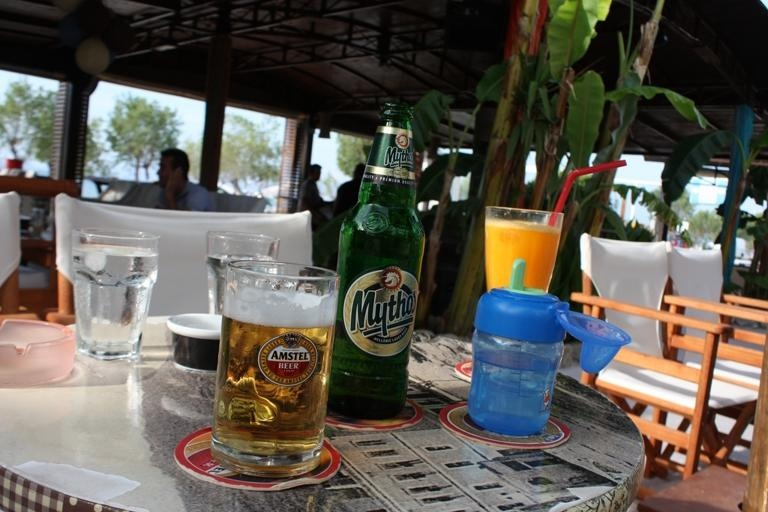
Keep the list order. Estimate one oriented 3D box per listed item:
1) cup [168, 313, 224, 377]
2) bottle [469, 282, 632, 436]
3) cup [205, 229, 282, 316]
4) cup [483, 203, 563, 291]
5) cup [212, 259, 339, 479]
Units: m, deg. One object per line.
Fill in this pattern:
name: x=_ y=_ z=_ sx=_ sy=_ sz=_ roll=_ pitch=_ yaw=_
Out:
cup: x=-0.329 y=0.158 z=1.026 sx=0.117 sy=0.068 sz=0.112 roll=9 pitch=6 yaw=-1
bottle: x=0.253 y=0.185 z=0.899 sx=0.245 sy=0.205 sz=0.136 roll=7 pitch=-4 yaw=17
cup: x=-0.282 y=0.041 z=1.121 sx=0.119 sy=0.162 sz=0.105 roll=4 pitch=-5 yaw=-26
cup: x=0.275 y=0.001 z=1.211 sx=0.145 sy=0.205 sz=0.133 roll=3 pitch=13 yaw=-1
cup: x=-0.141 y=0.150 z=0.725 sx=0.147 sy=0.263 sz=0.069 roll=3 pitch=9 yaw=-6
